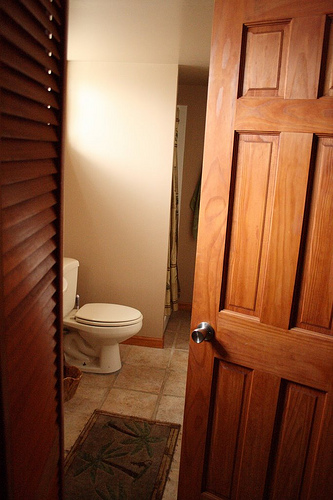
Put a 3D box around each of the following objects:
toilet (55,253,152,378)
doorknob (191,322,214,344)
[{"bbox_3d":[-0.554,0.535,2.802,0.662,0.867,0.453,6,11,-9],"label":"toilet"},{"bbox_3d":[0.118,0.294,1.216,0.066,0.091,0.070,7,10,30],"label":"doorknob"}]
